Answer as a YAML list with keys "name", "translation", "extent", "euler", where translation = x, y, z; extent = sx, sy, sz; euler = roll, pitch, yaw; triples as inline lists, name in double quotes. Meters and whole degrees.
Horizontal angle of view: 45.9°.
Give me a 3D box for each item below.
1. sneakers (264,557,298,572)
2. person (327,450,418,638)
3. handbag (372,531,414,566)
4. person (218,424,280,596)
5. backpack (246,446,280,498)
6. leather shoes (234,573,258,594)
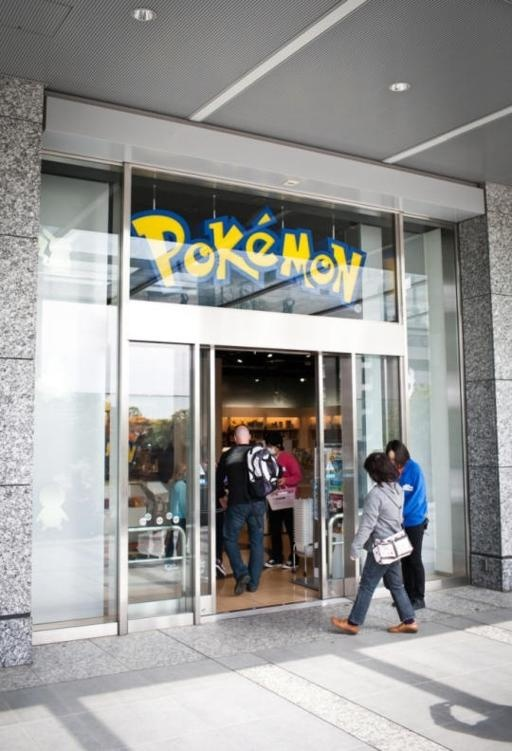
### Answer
- name: "sneakers"
  translation: [0.309, 2.303, 7.335]
  extent: [0.449, 0.183, 0.165]
  euler: [10, -23, -12]
- name: "person"
  translation: [0.873, 1.245, 4.594]
  extent: [0.614, 1.307, 0.469]
  euler: [6, -11, -28]
- name: "handbag"
  translation: [0.976, 1.259, 4.406]
  extent: [0.268, 0.192, 0.106]
  euler: [-15, -10, -21]
- name: "person"
  translation: [-0.084, 1.314, 6.093]
  extent: [0.645, 1.624, 0.486]
  euler: [1, -10, 0]
- name: "backpack"
  translation: [0.114, 0.952, 6.185]
  extent: [0.271, 0.516, 0.377]
  euler: [2, 18, 37]
- name: "leather shoes"
  translation: [-0.096, 2.012, 5.859]
  extent: [0.157, 0.175, 0.304]
  euler: [-3, -10, 17]
